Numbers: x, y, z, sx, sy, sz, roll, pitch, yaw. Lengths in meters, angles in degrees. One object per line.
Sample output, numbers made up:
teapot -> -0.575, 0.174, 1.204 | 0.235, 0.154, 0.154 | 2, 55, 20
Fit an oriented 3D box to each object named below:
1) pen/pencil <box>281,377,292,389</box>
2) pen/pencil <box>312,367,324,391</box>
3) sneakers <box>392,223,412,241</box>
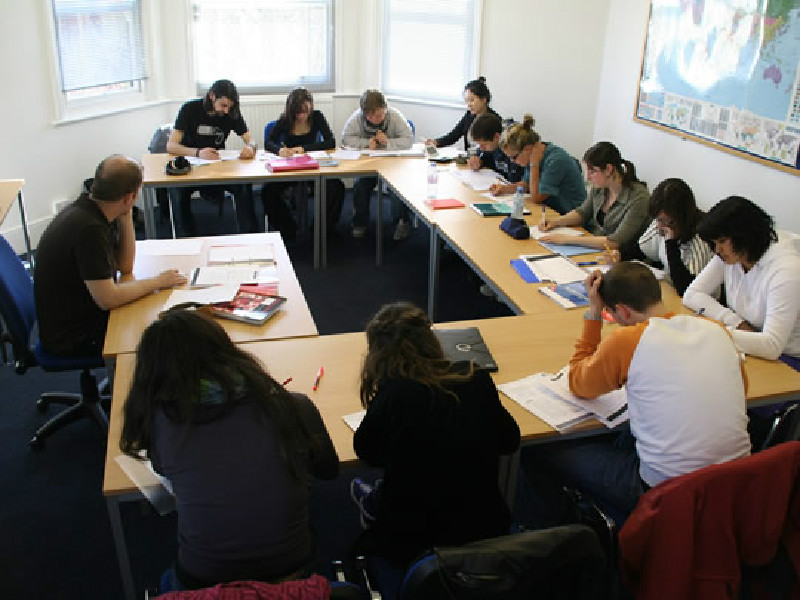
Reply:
pen/pencil -> -0.471, 0.344, 2.584 | 0.017, 0.019, 0.077 | 32, 36, 23
pen/pencil -> -0.348, 0.334, 2.622 | 0.023, 0.017, 0.098 | 31, 29, -12
sneakers -> 0.010, -0.669, 6.047 | 0.106, 0.088, 0.220 | 2, 24, 8
